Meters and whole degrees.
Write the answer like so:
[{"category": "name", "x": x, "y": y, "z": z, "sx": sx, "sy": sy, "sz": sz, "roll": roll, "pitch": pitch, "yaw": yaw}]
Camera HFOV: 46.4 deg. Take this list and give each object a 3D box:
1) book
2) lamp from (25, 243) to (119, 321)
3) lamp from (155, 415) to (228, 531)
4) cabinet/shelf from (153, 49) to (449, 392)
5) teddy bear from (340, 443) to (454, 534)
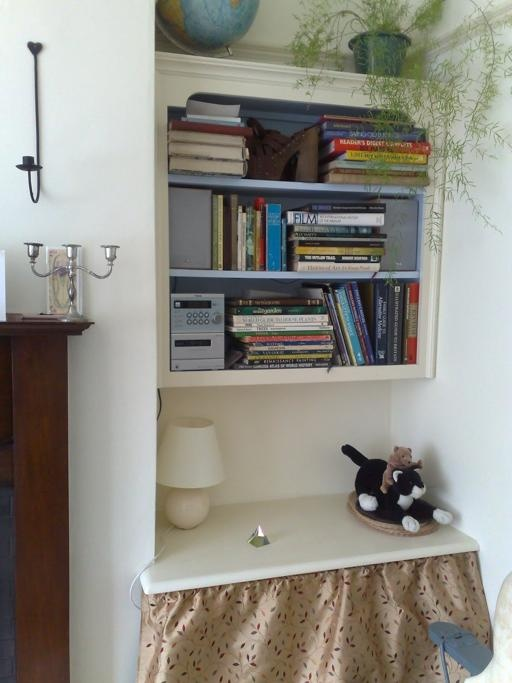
[{"category": "book", "x": 0.136, "y": -0.336, "z": 1.836, "sx": 0.820, "sy": 0.810, "sz": 0.277, "roll": 0, "pitch": 1, "yaw": -10}, {"category": "lamp", "x": -0.479, "y": -0.156, "z": 1.520, "sx": 0.204, "sy": 0.172, "sz": 0.056, "roll": -1, "pitch": 1, "yaw": -34}, {"category": "lamp", "x": -0.216, "y": 0.427, "z": 1.926, "sx": 0.227, "sy": 0.332, "sz": 0.248, "roll": 2, "pitch": 2, "yaw": 18}, {"category": "cabinet/shelf", "x": 0.145, "y": -0.379, "z": 1.829, "sx": 1.085, "sy": 1.077, "sz": 0.349, "roll": 0, "pitch": -1, "yaw": -15}, {"category": "teddy bear", "x": 0.443, "y": 0.456, "z": 1.917, "sx": 0.171, "sy": 0.179, "sz": 0.357, "roll": 1, "pitch": 3, "yaw": -24}]
